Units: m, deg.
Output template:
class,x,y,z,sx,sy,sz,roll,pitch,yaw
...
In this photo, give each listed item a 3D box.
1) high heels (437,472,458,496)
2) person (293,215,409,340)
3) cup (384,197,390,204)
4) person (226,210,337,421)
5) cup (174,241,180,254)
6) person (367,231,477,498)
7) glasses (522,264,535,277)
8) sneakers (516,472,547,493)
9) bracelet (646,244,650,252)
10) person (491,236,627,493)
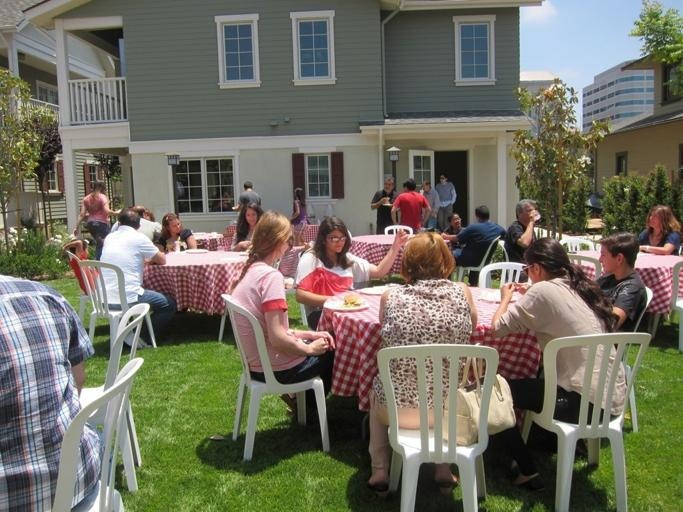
class,x,y,z,sx,sy,sz,roll,pitch,yaw
high heels,0.761,1.643,4.832,0.080,0.120,0.270,0,-4,9
person,0.032,0.190,6.508,0.938,1.446,0.953,-3,0,43
cup,0.856,-1.048,12.746,0.097,0.121,0.110,1,12,-2
person,-0.473,0.397,5.345,0.810,1.488,0.514,-3,6,-13
cup,-2.252,-0.112,9.177,0.087,0.162,0.092,-1,6,0
person,0.541,0.774,4.742,0.761,1.850,0.571,0,6,12
glasses,1.437,0.104,5.153,0.109,0.047,0.119,7,-1,10
sneakers,1.378,1.649,4.925,0.230,0.120,0.090,2,0,41
bracelet,3.660,-0.081,8.004,0.015,0.058,0.051,4,-6,-2
person,1.584,0.786,4.929,0.926,1.787,0.640,2,7,26
